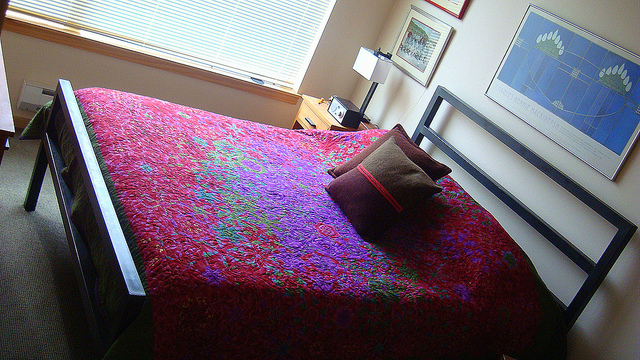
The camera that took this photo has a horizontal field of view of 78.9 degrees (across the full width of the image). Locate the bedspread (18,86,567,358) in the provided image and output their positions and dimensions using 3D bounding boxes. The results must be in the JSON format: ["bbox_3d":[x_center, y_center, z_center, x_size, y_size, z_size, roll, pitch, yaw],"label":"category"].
[{"bbox_3d":[-0.078,0.281,3.213,3.351,0.953,2.612,3,30,-27],"label":"bedspread"}]

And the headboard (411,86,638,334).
[{"bbox_3d":[1.766,0.299,3.212,0.049,1.243,1.900,1,31,-44],"label":"headboard"}]
